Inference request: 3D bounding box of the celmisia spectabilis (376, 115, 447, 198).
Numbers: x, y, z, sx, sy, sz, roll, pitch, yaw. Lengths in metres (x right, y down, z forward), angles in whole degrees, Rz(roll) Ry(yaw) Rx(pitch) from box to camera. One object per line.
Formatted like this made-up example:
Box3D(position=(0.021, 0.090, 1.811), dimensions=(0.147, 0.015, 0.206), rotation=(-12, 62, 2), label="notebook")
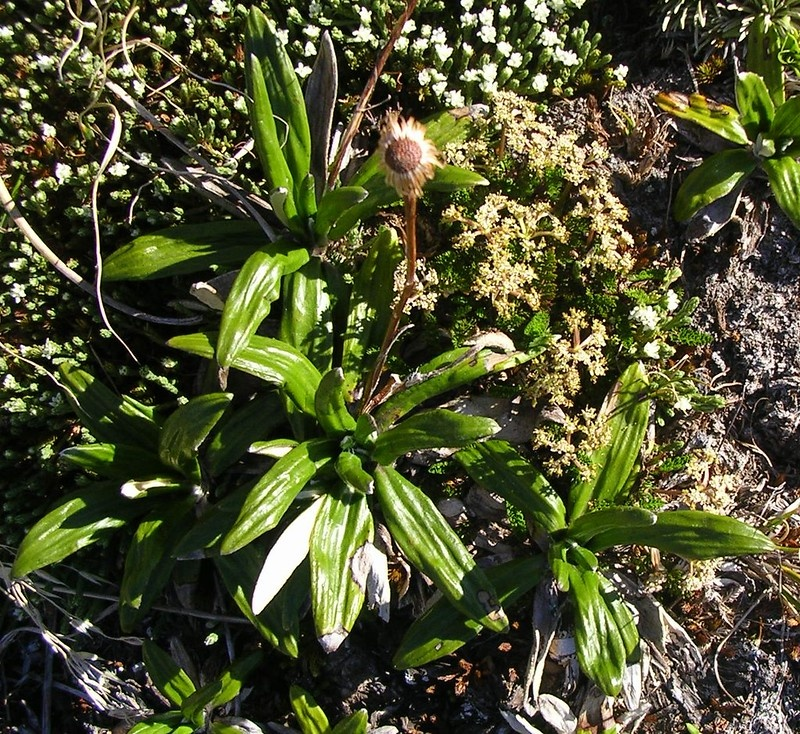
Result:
Box3D(position=(0.017, -0.582, 2.097), dimensions=(0.196, 0.055, 0.159), rotation=(-29, 76, -37), label="celmisia spectabilis")
